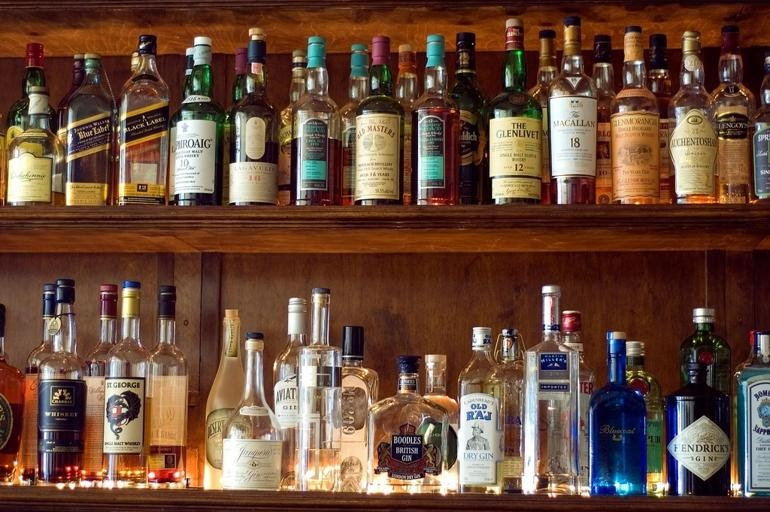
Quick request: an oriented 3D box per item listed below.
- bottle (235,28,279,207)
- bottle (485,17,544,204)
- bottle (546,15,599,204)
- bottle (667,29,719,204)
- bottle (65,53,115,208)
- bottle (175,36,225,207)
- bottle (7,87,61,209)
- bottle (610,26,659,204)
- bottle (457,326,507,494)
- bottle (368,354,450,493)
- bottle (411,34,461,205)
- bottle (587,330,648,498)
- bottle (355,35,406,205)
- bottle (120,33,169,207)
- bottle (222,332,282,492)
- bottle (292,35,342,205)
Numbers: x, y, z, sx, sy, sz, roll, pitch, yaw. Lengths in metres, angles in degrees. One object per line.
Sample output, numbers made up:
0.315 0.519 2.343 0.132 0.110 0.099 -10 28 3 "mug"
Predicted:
-0.306 -0.321 2.447 0.113 0.407 0.108 -2 0 0 "bottle"
0.297 -0.331 2.428 0.125 0.415 0.204 -2 0 20 "bottle"
0.425 -0.328 2.402 0.105 0.413 0.168 -2 0 21 "bottle"
0.695 -0.314 2.400 0.103 0.373 0.139 -2 0 18 "bottle"
-0.692 -0.294 2.476 0.116 0.366 0.196 -2 0 -12 "bottle"
-0.433 -0.310 2.455 0.112 0.393 0.104 -2 0 0 "bottle"
-0.831 -0.252 2.502 0.126 0.285 0.197 -2 0 -19 "bottle"
0.573 -0.318 2.431 0.107 0.390 0.212 -2 0 16 "bottle"
0.215 0.370 2.385 0.103 0.339 0.105 -2 0 0 "bottle"
0.049 0.374 2.359 0.182 0.298 0.083 -2 0 1 "bottle"
0.115 -0.309 2.421 0.106 0.381 0.122 -2 0 16 "bottle"
0.500 0.342 2.300 0.121 0.340 0.048 -2 0 9 "bottle"
-0.016 -0.307 2.454 0.125 0.382 0.197 -2 0 1 "bottle"
-0.565 -0.295 2.479 0.118 0.390 0.130 -2 0 0 "bottle"
-0.308 0.352 2.407 0.138 0.351 0.227 -2 0 -9 "bottle"
-0.162 -0.310 2.473 0.108 0.386 0.163 -2 0 7 "bottle"
